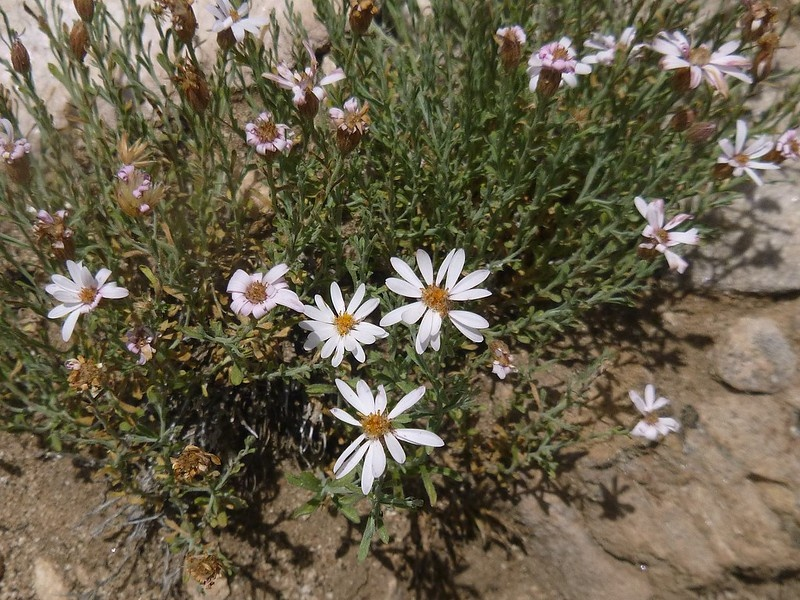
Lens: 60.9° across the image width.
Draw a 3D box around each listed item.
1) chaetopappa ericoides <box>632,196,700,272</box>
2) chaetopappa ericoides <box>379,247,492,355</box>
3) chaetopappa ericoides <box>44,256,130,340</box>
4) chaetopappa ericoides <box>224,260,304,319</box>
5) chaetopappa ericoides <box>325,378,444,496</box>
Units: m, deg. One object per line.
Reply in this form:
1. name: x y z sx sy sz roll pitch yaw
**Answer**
1. chaetopappa ericoides: 1.281 -0.328 3.300 0.340 0.155 0.375 3 71 3
2. chaetopappa ericoides: 0.163 0.123 3.260 0.472 0.702 0.495 7 53 4
3. chaetopappa ericoides: -1.486 -0.003 3.183 0.331 0.259 0.313 -36 61 -24
4. chaetopappa ericoides: -0.698 -0.031 3.226 0.263 0.294 0.075 -14 75 13
5. chaetopappa ericoides: -0.110 0.635 3.236 0.617 0.234 0.648 -6 13 6
